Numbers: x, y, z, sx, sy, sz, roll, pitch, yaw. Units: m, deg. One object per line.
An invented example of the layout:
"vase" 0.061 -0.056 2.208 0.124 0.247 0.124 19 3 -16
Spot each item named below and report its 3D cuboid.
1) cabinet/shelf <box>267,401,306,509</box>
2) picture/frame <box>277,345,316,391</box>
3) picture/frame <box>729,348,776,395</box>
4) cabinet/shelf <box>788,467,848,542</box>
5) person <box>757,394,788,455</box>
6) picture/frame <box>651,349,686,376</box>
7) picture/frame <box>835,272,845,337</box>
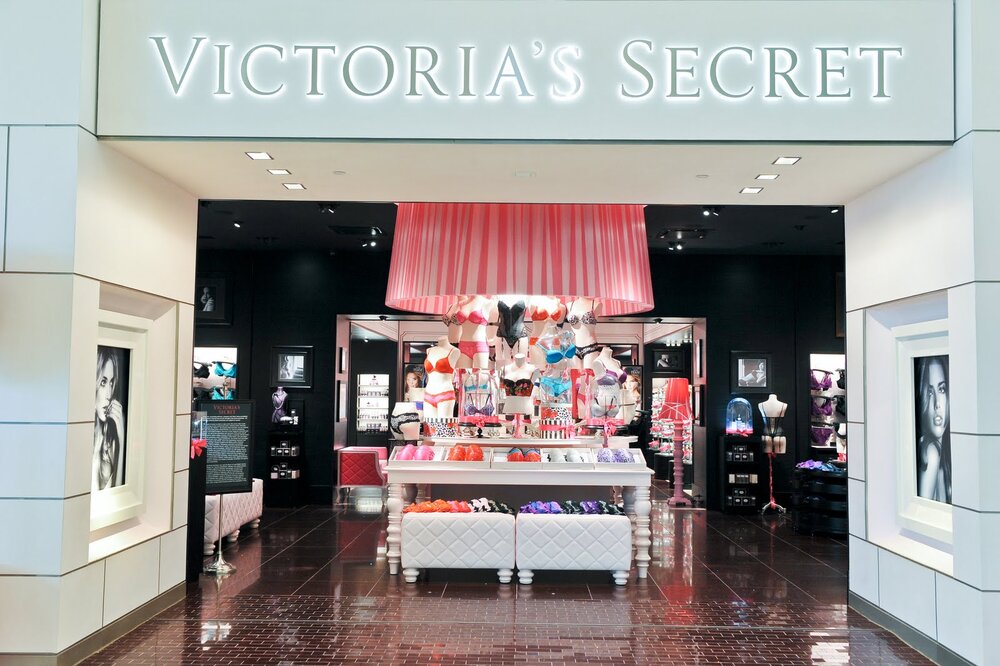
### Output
"cabinet/shelf" -3.475 1.932 12.575 0.616 1.650 0.410 1 -1 -16
"picture/frame" -3.396 0.598 12.874 0.722 0.747 0.085 0 -2 1
"picture/frame" 4.137 0.649 12.727 0.748 0.756 0.055 0 -5 -8
"cabinet/shelf" 4.484 2.350 10.884 1.059 0.933 1.072 1 -3 -1
"person" 4.383 1.471 12.399 0.425 1.006 0.736 0 -1 19
"picture/frame" 3.369 0.560 15.261 0.547 0.419 0.056 0 -2 14
"picture/frame" 5.657 -0.478 12.855 0.122 1.091 0.067 1 -1 -24
